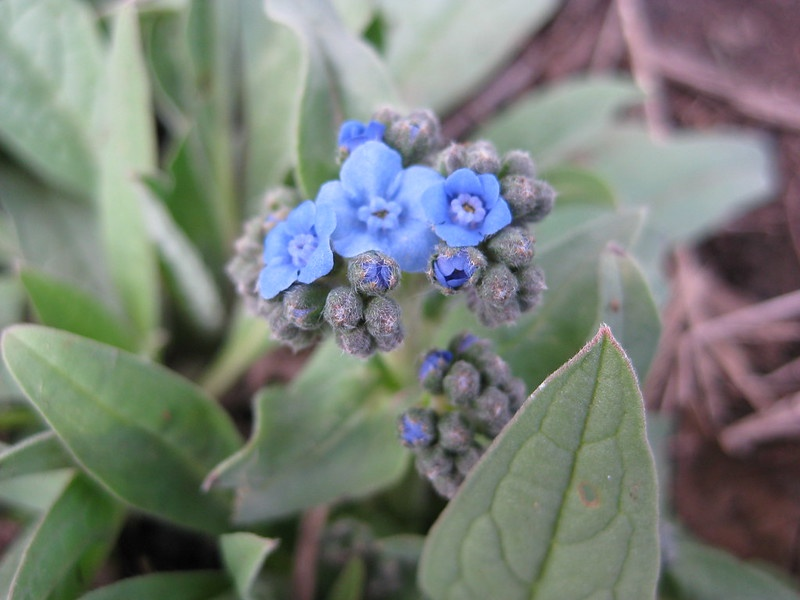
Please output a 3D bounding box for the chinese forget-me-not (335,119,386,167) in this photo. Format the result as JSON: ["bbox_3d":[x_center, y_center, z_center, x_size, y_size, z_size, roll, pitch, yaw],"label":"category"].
[{"bbox_3d":[-0.080,-0.325,1.622,0.073,0.092,0.105,-3,22,-4],"label":"chinese forget-me-not"}]

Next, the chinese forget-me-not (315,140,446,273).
[{"bbox_3d":[-0.032,-0.171,1.539,0.213,0.264,0.050,-3,1,-1],"label":"chinese forget-me-not"}]
